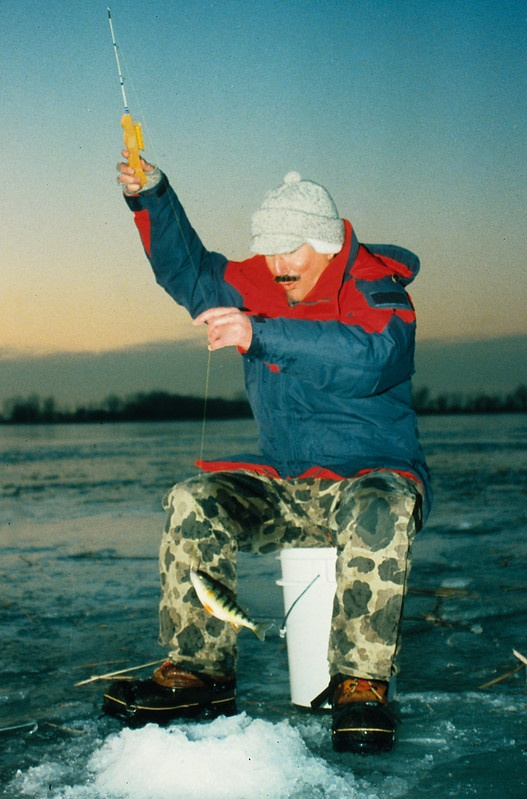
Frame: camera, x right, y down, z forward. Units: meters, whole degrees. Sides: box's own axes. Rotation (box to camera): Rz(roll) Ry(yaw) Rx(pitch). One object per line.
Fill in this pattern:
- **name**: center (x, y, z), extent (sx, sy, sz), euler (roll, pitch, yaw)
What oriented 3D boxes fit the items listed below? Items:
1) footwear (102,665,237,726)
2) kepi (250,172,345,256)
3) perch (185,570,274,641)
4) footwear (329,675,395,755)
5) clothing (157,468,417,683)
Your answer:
- **footwear**: center (-0.342, 1.108, 4.066), extent (0.386, 0.120, 0.227), euler (-1, 0, -29)
- **kepi**: center (0.197, -0.778, 4.502), extent (0.492, 0.330, 0.331), euler (-1, 18, 20)
- **perch**: center (-0.154, 0.765, 3.964), extent (0.080, 0.403, 0.152), euler (-33, 24, 44)
- **footwear**: center (0.346, 1.099, 3.833), extent (0.236, 0.114, 0.359), euler (-2, 17, 5)
- **clothing**: center (0.171, 0.612, 4.257), extent (0.980, 0.700, 0.811), euler (1, 2, 28)
